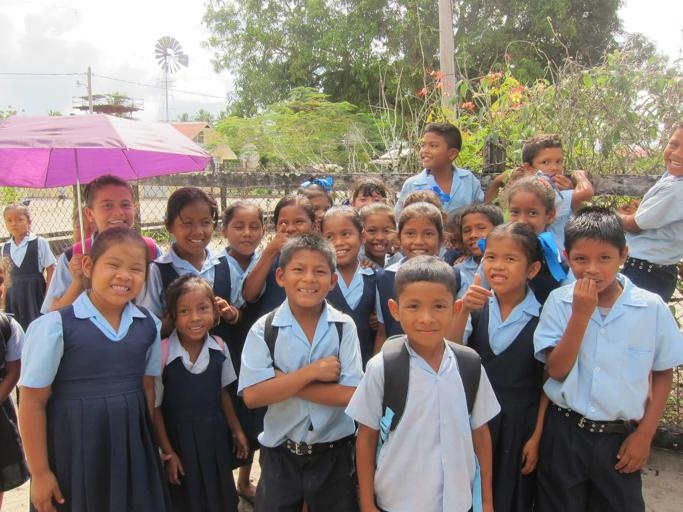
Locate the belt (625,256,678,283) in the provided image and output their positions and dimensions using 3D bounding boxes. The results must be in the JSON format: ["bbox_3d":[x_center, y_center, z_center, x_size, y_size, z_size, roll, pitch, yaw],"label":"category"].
[{"bbox_3d":[2.431,0.092,5.294,0.253,0.058,0.245,15,-2,-41],"label":"belt"}]
